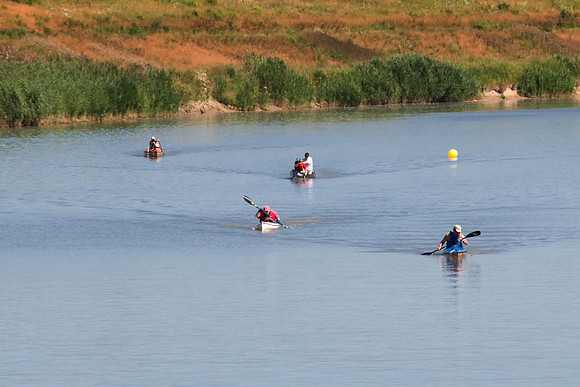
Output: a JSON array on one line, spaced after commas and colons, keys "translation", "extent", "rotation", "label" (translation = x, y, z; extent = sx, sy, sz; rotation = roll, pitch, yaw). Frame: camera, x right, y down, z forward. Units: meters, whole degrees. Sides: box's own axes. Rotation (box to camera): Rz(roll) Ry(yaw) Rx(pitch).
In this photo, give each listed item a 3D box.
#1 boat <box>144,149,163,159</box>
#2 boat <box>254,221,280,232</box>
[{"translation": [-8.891, -2.536, 79.645], "extent": [1.208, 0.569, 0.807], "rotation": [-1, 6, 3], "label": "boat"}, {"translation": [-1.219, 1.667, 63.736], "extent": [1.323, 0.471, 0.598], "rotation": [-2, 6, -2], "label": "boat"}]
